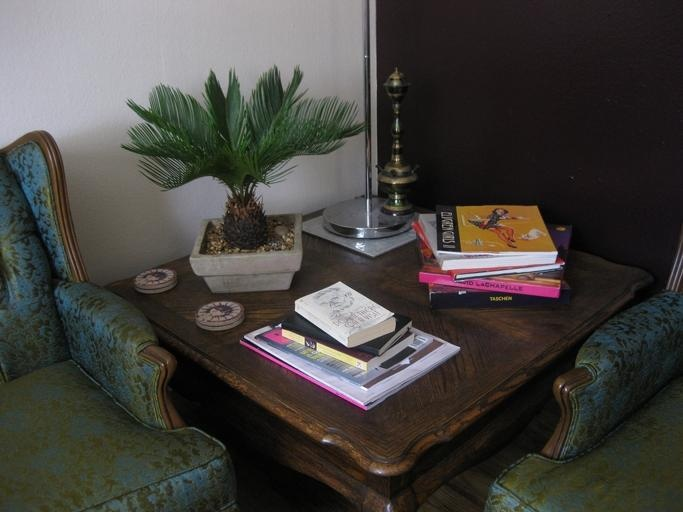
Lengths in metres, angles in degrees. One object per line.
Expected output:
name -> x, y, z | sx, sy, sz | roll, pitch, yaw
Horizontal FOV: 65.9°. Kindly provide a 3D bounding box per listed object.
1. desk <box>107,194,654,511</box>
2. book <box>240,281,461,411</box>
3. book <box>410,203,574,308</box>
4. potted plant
desk -> 0.148, -0.038, 1.108 | 0.735, 0.531, 0.753 | 24, 39, 37
book -> 0.061, 0.174, 1.051 | 0.217, 0.020, 0.256 | -20, 31, -40
book -> 0.374, -0.005, 1.284 | 0.276, 0.076, 0.295 | 5, 32, 14
potted plant -> -0.257, -0.252, 1.458 | 0.635, 0.547, 0.583 | -1, 26, 0
